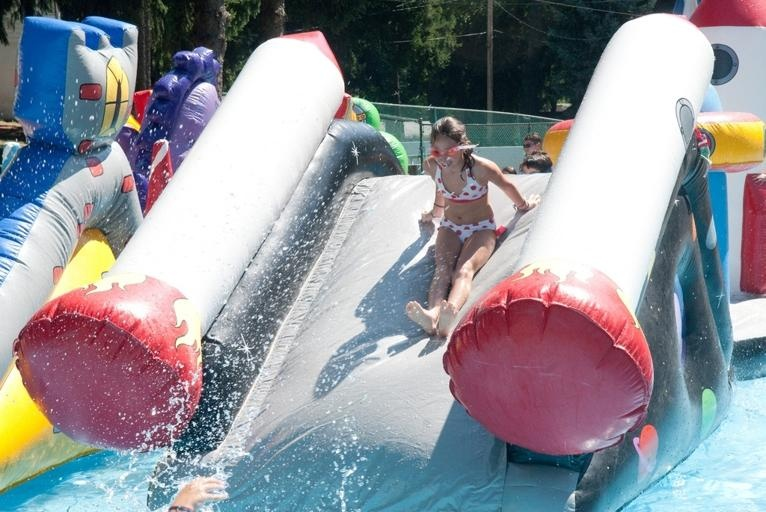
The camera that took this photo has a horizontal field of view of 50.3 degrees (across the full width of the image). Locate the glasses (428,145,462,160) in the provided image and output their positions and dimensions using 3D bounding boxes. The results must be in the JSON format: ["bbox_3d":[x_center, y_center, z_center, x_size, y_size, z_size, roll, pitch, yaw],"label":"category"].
[{"bbox_3d":[0.391,-0.643,5.061,0.176,0.095,0.098,10,16,10],"label":"glasses"}]

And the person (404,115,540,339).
[{"bbox_3d":[0.473,-0.337,5.093,0.821,0.958,1.544,1,26,20],"label":"person"}]

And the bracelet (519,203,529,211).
[{"bbox_3d":[0.917,-0.315,5.291,0.043,0.052,0.052,0,47,-16],"label":"bracelet"}]
